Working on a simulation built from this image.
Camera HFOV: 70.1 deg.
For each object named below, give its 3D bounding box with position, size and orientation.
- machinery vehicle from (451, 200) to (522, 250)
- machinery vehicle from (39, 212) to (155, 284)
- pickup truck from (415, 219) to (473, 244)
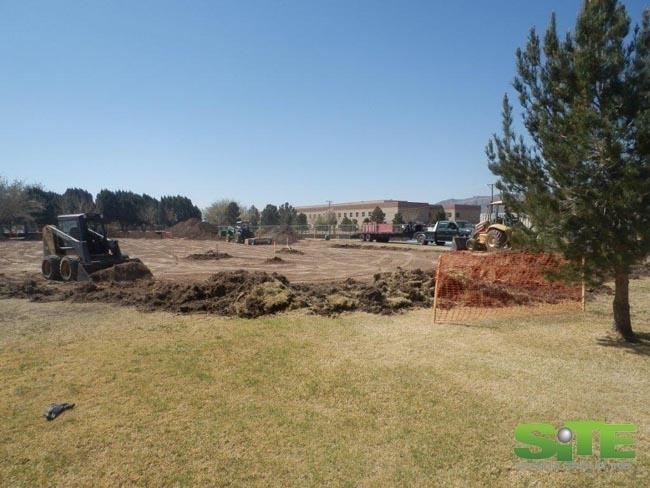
[{"bbox_3d":[9.483,-0.928,27.218,2.130,2.799,4.156,-5,1,-27],"label":"machinery vehicle"},{"bbox_3d":[-9.590,0.053,18.524,4.217,2.491,2.381,1,3,36],"label":"machinery vehicle"},{"bbox_3d":[9.761,-1.032,37.698,1.486,1.488,3.984,-2,0,-25],"label":"pickup truck"}]
